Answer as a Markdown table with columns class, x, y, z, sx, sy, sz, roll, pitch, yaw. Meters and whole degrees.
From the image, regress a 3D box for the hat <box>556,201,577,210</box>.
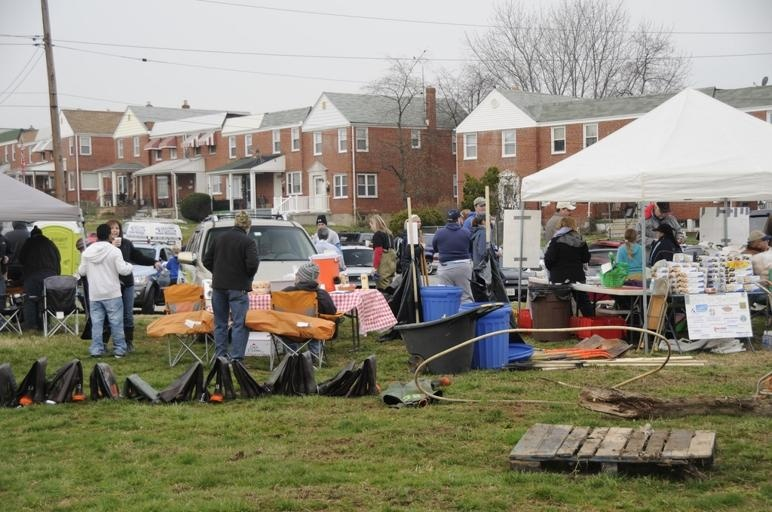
| class | x | y | z | sx | sy | sz | roll | pitch | yaw |
| --- | --- | --- | --- | --- | --- | --- | --- | --- | --- |
| hat | 3.847 | -1.056 | 27.760 | 0.458 | 0.155 | 0.280 | 0 | 2 | -12 |

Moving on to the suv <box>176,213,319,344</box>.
| class | x | y | z | sx | sy | sz | roll | pitch | yaw |
| --- | --- | --- | --- | --- | --- | --- | --- | --- | --- |
| suv | -2.661 | 0.515 | 25.215 | 2.726 | 1.844 | 3.883 | 0 | -3 | -16 |

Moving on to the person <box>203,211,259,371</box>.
| class | x | y | z | sx | sy | sz | roll | pitch | yaw |
| --- | --- | --- | --- | --- | --- | --- | --- | --- | --- |
| person | -2.869 | 0.569 | 24.318 | 0.905 | 2.342 | 0.503 | -1 | 0 | -10 |

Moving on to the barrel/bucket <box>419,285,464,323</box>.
| class | x | y | z | sx | sy | sz | roll | pitch | yaw |
| --- | --- | --- | --- | --- | --- | --- | --- | --- | --- |
| barrel/bucket | 1.013 | 0.933 | 25.144 | 0.734 | 0.714 | 0.691 | -1 | -2 | 0 |

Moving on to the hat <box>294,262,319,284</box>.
| class | x | y | z | sx | sy | sz | roll | pitch | yaw |
| --- | --- | --- | --- | --- | --- | --- | --- | --- | --- |
| hat | -1.494 | 0.343 | 24.858 | 0.353 | 0.409 | 0.421 | 10 | 3 | -24 |

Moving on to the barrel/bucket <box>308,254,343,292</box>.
| class | x | y | z | sx | sy | sz | roll | pitch | yaw |
| --- | --- | --- | --- | --- | --- | --- | --- | --- | --- |
| barrel/bucket | -1.164 | 0.322 | 25.778 | 0.809 | 0.894 | 0.629 | -1 | -6 | -5 |

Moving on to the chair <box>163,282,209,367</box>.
| class | x | y | z | sx | sy | sz | roll | pitch | yaw |
| --- | --- | --- | --- | --- | --- | --- | --- | --- | --- |
| chair | -3.904 | 1.126 | 25.425 | 0.785 | 1.167 | 1.509 | -1 | 0 | -8 |

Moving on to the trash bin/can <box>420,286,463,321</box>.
| class | x | y | z | sx | sy | sz | roll | pitch | yaw |
| --- | --- | --- | --- | --- | --- | --- | --- | --- | --- |
| trash bin/can | 1.017 | 0.912 | 25.162 | 0.728 | 0.714 | 0.683 | 0 | -2 | -13 |

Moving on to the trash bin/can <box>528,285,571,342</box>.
| class | x | y | z | sx | sy | sz | roll | pitch | yaw |
| --- | --- | --- | --- | --- | --- | --- | --- | --- | --- |
| trash bin/can | 3.361 | 1.140 | 26.730 | 1.113 | 1.208 | 1.074 | 1 | 3 | 20 |

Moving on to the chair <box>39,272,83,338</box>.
| class | x | y | z | sx | sy | sz | roll | pitch | yaw |
| --- | --- | --- | --- | --- | --- | --- | --- | --- | --- |
| chair | -6.849 | 1.056 | 27.381 | 0.924 | 1.284 | 0.939 | -2 | -2 | 3 |

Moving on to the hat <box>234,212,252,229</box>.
| class | x | y | z | sx | sy | sz | roll | pitch | yaw |
| --- | --- | --- | --- | --- | --- | --- | --- | --- | --- |
| hat | -2.680 | -0.660 | 24.511 | 0.270 | 0.316 | 0.326 | 4 | 12 | 1 |

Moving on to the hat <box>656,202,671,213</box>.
| class | x | y | z | sx | sy | sz | roll | pitch | yaw |
| --- | --- | --- | --- | --- | --- | --- | --- | --- | --- |
| hat | 5.850 | -1.014 | 27.670 | 0.266 | 0.237 | 0.210 | -9 | -10 | 43 |

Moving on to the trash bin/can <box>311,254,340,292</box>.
| class | x | y | z | sx | sy | sz | roll | pitch | yaw |
| --- | --- | --- | --- | --- | --- | --- | --- | --- | --- |
| trash bin/can | -1.172 | 0.350 | 25.864 | 0.749 | 0.869 | 0.636 | -1 | -7 | -8 |

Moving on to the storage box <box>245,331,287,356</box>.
| class | x | y | z | sx | sy | sz | roll | pitch | yaw |
| --- | --- | --- | --- | --- | --- | --- | --- | --- | --- |
| storage box | -2.458 | 1.718 | 25.220 | 0.597 | 0.342 | 0.557 | 0 | -3 | 3 |

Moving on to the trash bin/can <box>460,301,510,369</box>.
| class | x | y | z | sx | sy | sz | roll | pitch | yaw |
| --- | --- | --- | --- | --- | --- | --- | --- | --- | --- |
| trash bin/can | 1.958 | 1.502 | 24.267 | 0.845 | 0.923 | 0.553 | -1 | 0 | -13 |

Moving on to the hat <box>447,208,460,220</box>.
| class | x | y | z | sx | sy | sz | roll | pitch | yaw |
| --- | --- | --- | --- | --- | --- | --- | --- | --- | --- |
| hat | 1.393 | -0.838 | 26.684 | 0.199 | 0.126 | 0.293 | 0 | 17 | 25 |
